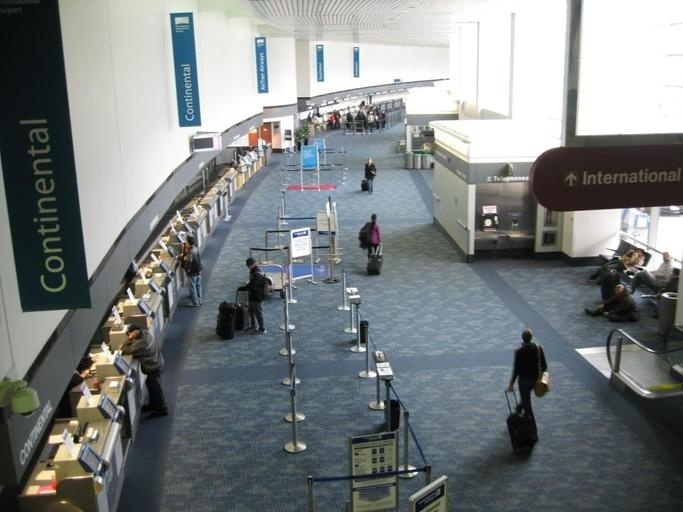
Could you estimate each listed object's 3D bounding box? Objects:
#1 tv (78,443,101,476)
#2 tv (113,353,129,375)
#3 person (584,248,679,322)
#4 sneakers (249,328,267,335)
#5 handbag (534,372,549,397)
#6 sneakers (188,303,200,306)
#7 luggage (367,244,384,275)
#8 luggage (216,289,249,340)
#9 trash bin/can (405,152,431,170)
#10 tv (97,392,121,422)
[{"bbox_3d":[-2.759,2.234,5.818,0.128,0.218,0.234,-21,33,-8],"label":"tv"},{"bbox_3d":[-3.197,1.571,7.719,0.084,0.236,0.137,-14,55,-2],"label":"tv"},{"bbox_3d":[6.271,0.726,11.505,2.122,0.891,1.291,-17,22,-17],"label":"person"},{"bbox_3d":[-1.712,1.521,10.853,0.374,0.155,0.126,6,12,0],"label":"sneakers"},{"bbox_3d":[2.750,1.798,7.328,0.173,0.442,0.271,5,19,21],"label":"handbag"},{"bbox_3d":[-3.373,1.110,12.173,0.241,0.101,0.103,5,15,3],"label":"sneakers"},{"bbox_3d":[0.861,0.091,13.798,0.367,0.644,0.630,-1,18,3],"label":"luggage"},{"bbox_3d":[-2.013,1.226,10.926,0.527,0.890,0.906,1,6,7],"label":"luggage"},{"bbox_3d":[3.839,-4.693,26.424,1.289,0.788,0.621,0,18,6],"label":"trash bin/can"},{"bbox_3d":[-2.980,1.944,6.811,0.121,0.387,0.208,-13,57,12],"label":"tv"}]
